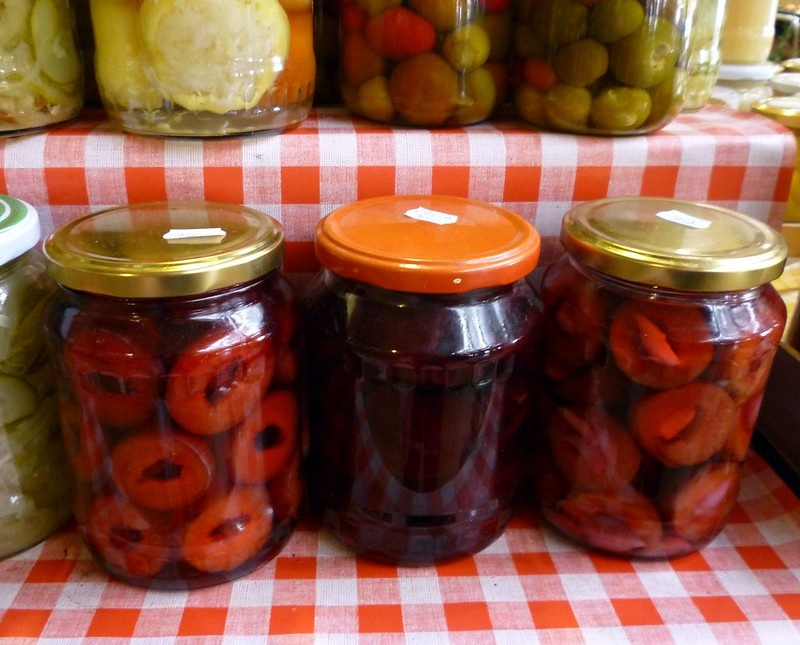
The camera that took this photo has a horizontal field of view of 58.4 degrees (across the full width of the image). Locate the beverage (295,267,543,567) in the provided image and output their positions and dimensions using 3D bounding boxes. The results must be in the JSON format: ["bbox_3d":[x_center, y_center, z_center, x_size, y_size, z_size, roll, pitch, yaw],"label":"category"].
[{"bbox_3d":[0.019,0.104,0.784,0.243,0.314,0.135,0,28,3],"label":"beverage"}]

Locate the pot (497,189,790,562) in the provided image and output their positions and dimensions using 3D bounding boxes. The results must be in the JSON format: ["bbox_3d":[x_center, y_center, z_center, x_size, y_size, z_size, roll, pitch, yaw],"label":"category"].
[{"bbox_3d":[0.284,0.059,0.841,0.266,0.365,0.250,-1,27,1],"label":"pot"}]

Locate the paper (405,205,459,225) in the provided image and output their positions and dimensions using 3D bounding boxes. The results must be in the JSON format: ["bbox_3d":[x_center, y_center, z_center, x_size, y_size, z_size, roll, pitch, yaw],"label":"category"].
[{"bbox_3d":[0.033,-0.115,0.777,0.061,0.005,0.042,16,30,33],"label":"paper"}]
